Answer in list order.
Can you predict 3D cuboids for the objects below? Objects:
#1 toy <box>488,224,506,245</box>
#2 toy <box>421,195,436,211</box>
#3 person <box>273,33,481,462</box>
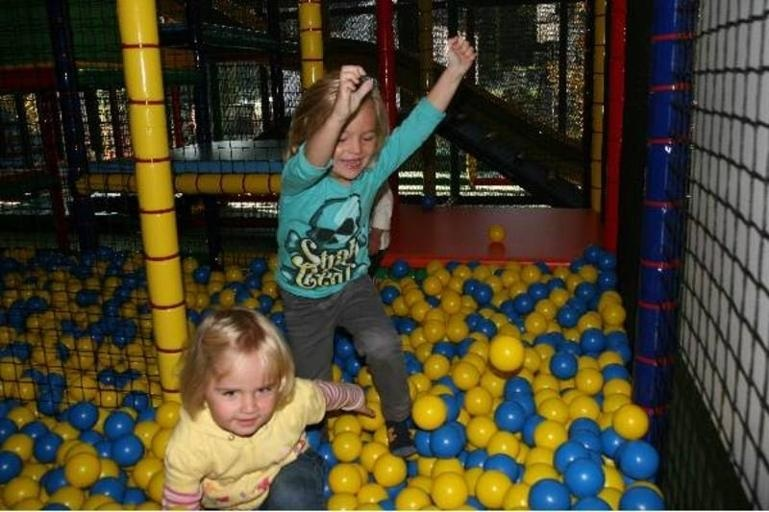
[{"bbox_3d":[0.886,-0.179,4.858,0.136,0.163,0.140,11,39,12],"label":"toy"},{"bbox_3d":[0.413,-0.505,5.862,0.106,0.116,0.129,-3,3,-42],"label":"toy"},{"bbox_3d":[-0.091,-0.003,2.834,0.746,1.889,0.647,-8,13,-32],"label":"person"}]
